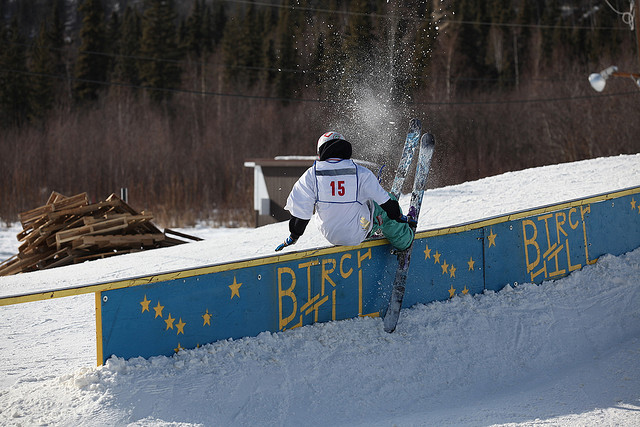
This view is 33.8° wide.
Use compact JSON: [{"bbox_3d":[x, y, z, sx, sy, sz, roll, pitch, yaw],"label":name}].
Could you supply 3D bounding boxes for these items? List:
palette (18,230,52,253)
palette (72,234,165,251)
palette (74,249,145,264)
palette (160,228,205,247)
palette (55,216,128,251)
[{"bbox_3d":[-11.845,1.316,43.598,0.258,0.977,0.976,41,-6,23],"label":"palette"},{"bbox_3d":[-8.314,1.356,43.701,1.239,0.685,2.711,11,17,41],"label":"palette"},{"bbox_3d":[-8.762,1.843,43.413,2.620,0.237,0.371,-7,14,-13],"label":"palette"},{"bbox_3d":[-6.043,1.222,44.827,1.217,0.526,0.841,10,14,-46],"label":"palette"},{"bbox_3d":[-9.397,0.916,43.623,2.935,1.003,0.321,-7,12,-13],"label":"palette"}]
